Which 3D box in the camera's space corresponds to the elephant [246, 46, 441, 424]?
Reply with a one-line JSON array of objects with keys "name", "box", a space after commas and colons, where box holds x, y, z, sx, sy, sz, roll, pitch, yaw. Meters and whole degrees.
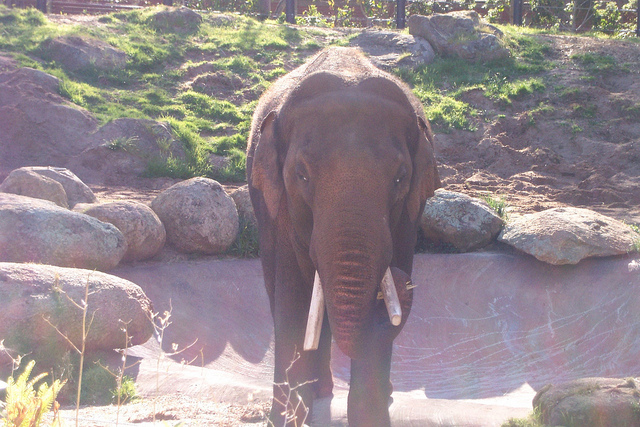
[{"name": "elephant", "box": [0.317, 0.559, 17.570, 2.899, 6.490, 1.669, 4, 7, 6]}]
